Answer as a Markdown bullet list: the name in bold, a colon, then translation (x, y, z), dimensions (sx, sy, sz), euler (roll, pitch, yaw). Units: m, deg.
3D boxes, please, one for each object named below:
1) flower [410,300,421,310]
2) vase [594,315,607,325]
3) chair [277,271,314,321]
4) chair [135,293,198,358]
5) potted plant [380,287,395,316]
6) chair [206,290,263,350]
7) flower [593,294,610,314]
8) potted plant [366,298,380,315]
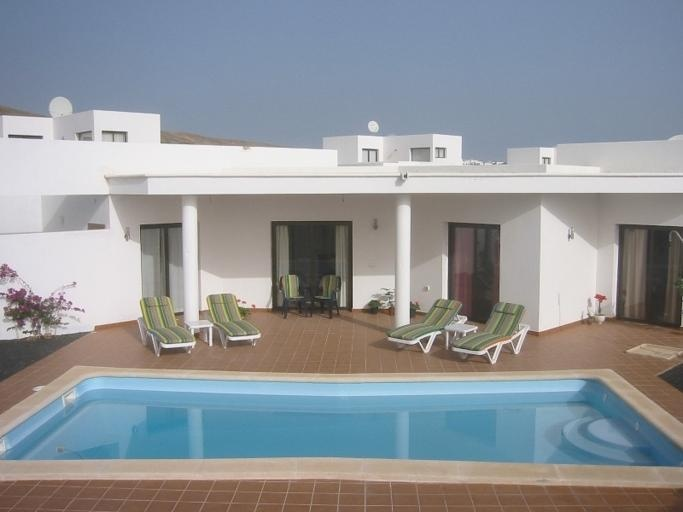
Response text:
- **flower**: translation (2.233, 1.494, 17.394), dimensions (0.195, 0.173, 0.310), euler (-3, -5, 42)
- **vase**: translation (7.227, 1.752, 15.907), dimensions (0.280, 0.253, 0.302), euler (0, 7, 13)
- **chair**: translation (-1.517, 1.197, 17.400), dimensions (1.065, 1.717, 1.231), euler (-1, 2, -19)
- **chair**: translation (-4.281, 1.700, 13.860), dimensions (0.908, 1.093, 1.929), euler (-2, 9, -36)
- **potted plant**: translation (1.432, 1.395, 17.523), dimensions (0.605, 0.868, 0.605), euler (-2, -3, 33)
- **chair**: translation (-2.800, 1.636, 14.441), dimensions (0.920, 1.068, 1.799), euler (-1, 9, -32)
- **flower**: translation (7.268, 1.360, 15.972), dimensions (0.332, 0.613, 0.585), euler (1, 8, 24)
- **potted plant**: translation (0.969, 1.563, 17.558), dimensions (0.359, 0.401, 0.362), euler (0, 0, -5)
